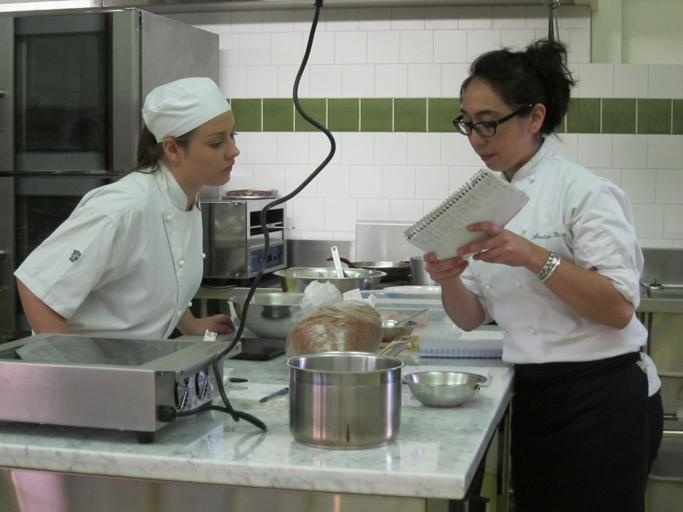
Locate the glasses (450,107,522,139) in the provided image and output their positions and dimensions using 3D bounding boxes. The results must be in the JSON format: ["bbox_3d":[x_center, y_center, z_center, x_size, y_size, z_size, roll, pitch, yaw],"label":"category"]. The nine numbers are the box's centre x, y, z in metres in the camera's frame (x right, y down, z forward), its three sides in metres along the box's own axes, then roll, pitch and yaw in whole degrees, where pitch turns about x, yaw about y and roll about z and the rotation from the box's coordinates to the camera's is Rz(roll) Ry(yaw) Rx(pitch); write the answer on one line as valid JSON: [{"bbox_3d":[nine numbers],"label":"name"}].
[{"bbox_3d":[0.422,-0.361,1.798,0.116,0.033,0.111,-32,21,-21],"label":"glasses"}]

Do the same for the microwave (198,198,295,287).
[{"bbox_3d":[-0.577,-0.093,3.877,0.342,0.449,0.619,1,3,15],"label":"microwave"}]

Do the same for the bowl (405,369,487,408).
[{"bbox_3d":[0.253,0.325,1.620,0.181,0.060,0.194,-1,6,0],"label":"bowl"}]

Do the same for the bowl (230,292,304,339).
[{"bbox_3d":[-0.249,0.210,2.220,0.237,0.147,0.292,-1,6,-4],"label":"bowl"}]

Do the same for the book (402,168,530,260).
[{"bbox_3d":[0.304,-0.087,1.538,0.267,0.224,0.238,2,6,22],"label":"book"}]

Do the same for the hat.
[{"bbox_3d":[-0.550,-0.501,2.120,0.227,0.134,0.257,19,22,22],"label":"hat"}]

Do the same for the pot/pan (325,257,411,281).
[{"bbox_3d":[0.207,0.076,3.676,0.329,0.096,0.200,-1,1,6],"label":"pot/pan"}]

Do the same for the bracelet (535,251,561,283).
[{"bbox_3d":[0.533,0.025,1.662,0.025,0.062,0.068,34,-26,-6],"label":"bracelet"}]
